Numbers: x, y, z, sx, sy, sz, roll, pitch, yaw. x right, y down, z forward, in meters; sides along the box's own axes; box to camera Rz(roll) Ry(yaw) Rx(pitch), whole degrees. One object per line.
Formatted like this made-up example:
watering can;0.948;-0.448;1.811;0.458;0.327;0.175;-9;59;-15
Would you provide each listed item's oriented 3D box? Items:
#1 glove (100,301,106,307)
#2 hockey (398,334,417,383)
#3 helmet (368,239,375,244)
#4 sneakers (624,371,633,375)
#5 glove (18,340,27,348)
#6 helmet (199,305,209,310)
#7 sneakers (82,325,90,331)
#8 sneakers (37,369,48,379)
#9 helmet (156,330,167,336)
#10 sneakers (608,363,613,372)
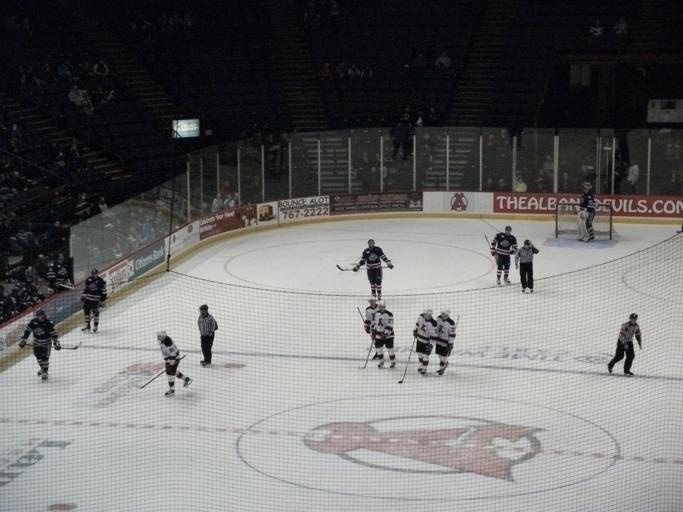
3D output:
glove;-7.203;1.428;23.339;0.204;0.111;0.306;1;-17;-16
hockey;1.762;2.785;20.559;0.202;0.382;2.564;8;23;14
helmet;0.985;-0.418;25.146;0.237;0.235;0.306;-1;23;3
sneakers;7.248;2.939;19.406;0.264;0.117;0.137;0;3;-12
glove;-8.174;2.241;19.838;0.144;0.200;0.340;-1;3;-24
helmet;-3.506;1.321;19.760;0.176;0.185;0.208;4;-27;-26
sneakers;-7.499;2.118;22.710;0.227;0.210;0.201;0;3;-15
sneakers;-7.573;3.009;19.644;0.124;0.152;0.354;-3;18;-32
helmet;-4.303;1.870;18.622;0.170;0.078;0.234;0;1;3
sneakers;6.786;2.836;19.498;0.088;0.237;0.100;-6;10;-5
